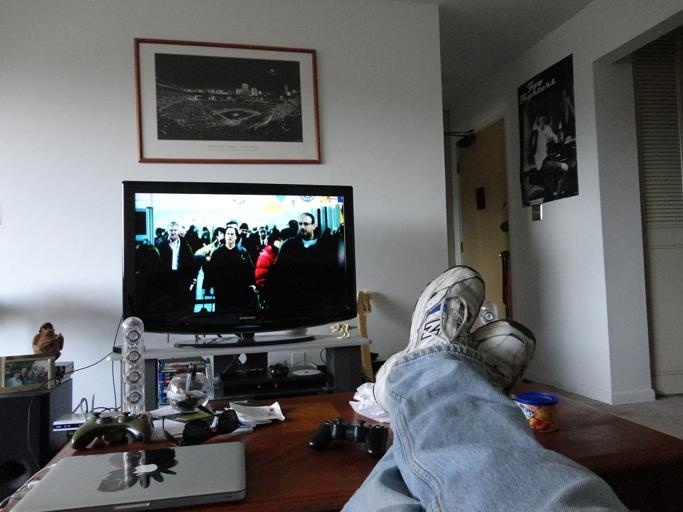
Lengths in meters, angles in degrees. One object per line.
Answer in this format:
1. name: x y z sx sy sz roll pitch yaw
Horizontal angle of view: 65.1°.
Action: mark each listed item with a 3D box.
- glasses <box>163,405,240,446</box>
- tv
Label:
1. glasses: -0.370 0.447 1.421 0.105 0.041 0.122 -2 -3 -42
2. tv: -0.510 0.031 2.584 0.780 0.581 0.222 0 -4 -10
